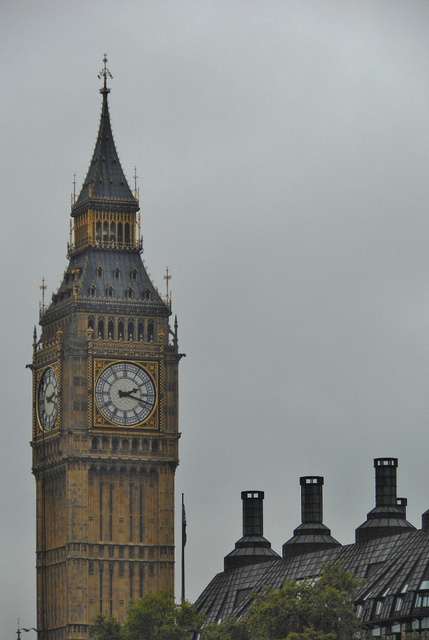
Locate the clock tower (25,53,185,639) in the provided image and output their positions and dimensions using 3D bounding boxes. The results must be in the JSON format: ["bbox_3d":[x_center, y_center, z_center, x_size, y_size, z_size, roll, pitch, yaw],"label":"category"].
[{"bbox_3d":[-8.998,2.735,201.011,11.529,47.970,7.627,-1,-16,-1],"label":"clock tower"}]
